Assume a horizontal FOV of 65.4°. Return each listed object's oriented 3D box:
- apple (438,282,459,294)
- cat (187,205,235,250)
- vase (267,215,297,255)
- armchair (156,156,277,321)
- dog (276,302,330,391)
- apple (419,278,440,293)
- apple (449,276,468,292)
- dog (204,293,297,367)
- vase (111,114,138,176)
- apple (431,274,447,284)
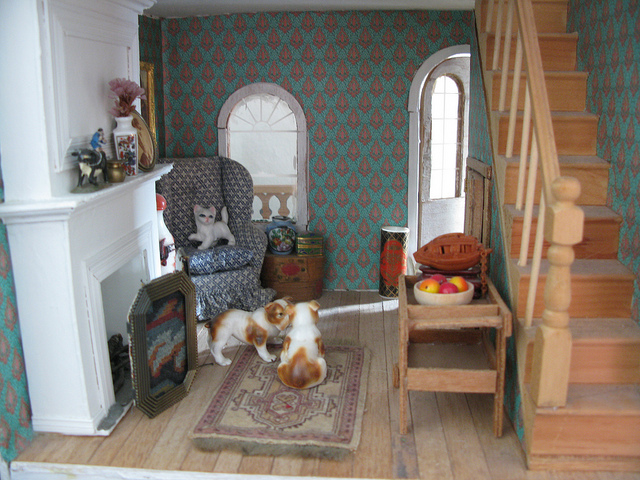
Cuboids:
[{"bbox_3d":[0.869,0.330,3.395,0.081,0.087,0.084,6,17,18],"label":"apple"},{"bbox_3d":[-1.189,-0.145,5.475,0.238,0.532,0.596,8,19,33],"label":"cat"},{"bbox_3d":[-0.433,0.078,5.725,0.357,0.371,0.496,1,56,-9],"label":"vase"},{"bbox_3d":[-1.092,0.056,5.640,1.701,1.948,1.485,-6,13,-25],"label":"armchair"},{"bbox_3d":[-0.146,0.847,3.977,0.357,0.393,0.772,2,37,-3],"label":"dog"},{"bbox_3d":[0.748,0.297,3.420,0.093,0.099,0.095,15,15,31],"label":"apple"},{"bbox_3d":[0.964,0.306,3.456,0.092,0.125,0.101,-3,-4,-1],"label":"apple"},{"bbox_3d":[-0.609,0.750,4.301,0.767,0.577,0.374,-2,20,3],"label":"dog"},{"bbox_3d":[-1.492,-0.717,3.830,0.168,0.454,0.095,-11,16,-27],"label":"vase"},{"bbox_3d":[0.848,0.261,3.534,0.062,0.081,0.065,5,21,30],"label":"apple"}]
